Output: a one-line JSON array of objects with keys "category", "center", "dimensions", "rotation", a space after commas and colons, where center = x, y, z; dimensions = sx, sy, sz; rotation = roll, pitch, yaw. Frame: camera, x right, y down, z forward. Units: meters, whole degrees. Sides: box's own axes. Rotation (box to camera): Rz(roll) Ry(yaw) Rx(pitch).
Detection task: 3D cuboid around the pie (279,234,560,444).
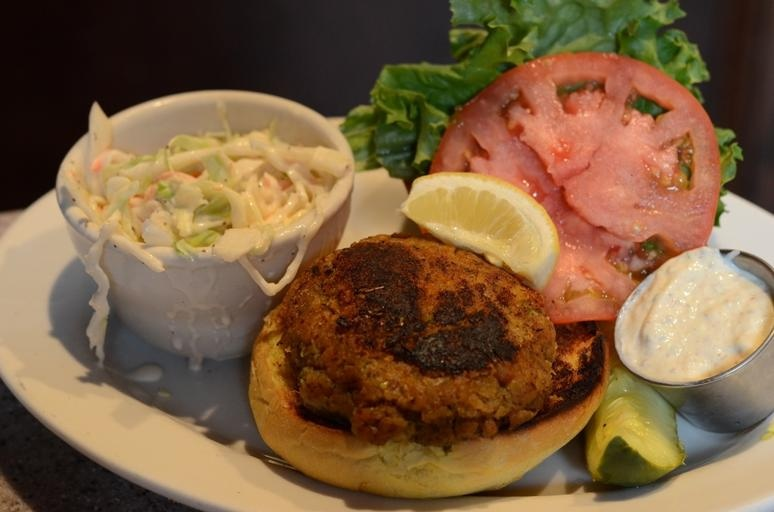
[{"category": "pie", "center": [0.112, 0.317, 2.714], "dimensions": [1.001, 0.341, 0.731], "rotation": [-4, 52, -9]}]
